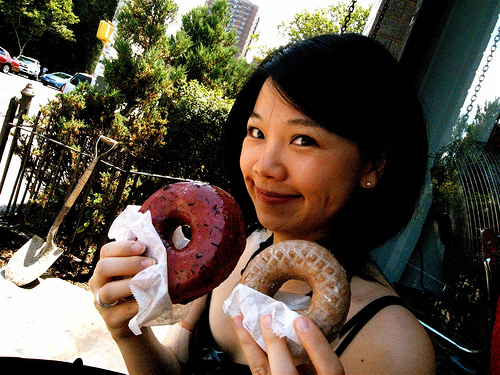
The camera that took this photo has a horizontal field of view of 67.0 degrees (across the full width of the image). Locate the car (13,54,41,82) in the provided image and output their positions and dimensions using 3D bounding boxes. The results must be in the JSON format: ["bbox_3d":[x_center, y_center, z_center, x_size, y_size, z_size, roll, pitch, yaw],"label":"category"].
[{"bbox_3d":[-15.346,-8.319,26.180,1.141,1.077,2.429,4,7,-22],"label":"car"}]

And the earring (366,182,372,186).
[{"bbox_3d":[0.777,-0.027,2.482,0.022,0.024,0.005,-1,8,3],"label":"earring"}]

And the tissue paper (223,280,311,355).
[{"bbox_3d":[0.100,0.760,2.249,0.476,0.404,0.321,18,2,22],"label":"tissue paper"}]

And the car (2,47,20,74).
[{"bbox_3d":[-15.192,-7.909,23.811,0.954,0.835,1.704,0,3,-17],"label":"car"}]

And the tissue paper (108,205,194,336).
[{"bbox_3d":[-0.653,0.504,2.360,0.265,0.783,0.743,-6,1,-32],"label":"tissue paper"}]
